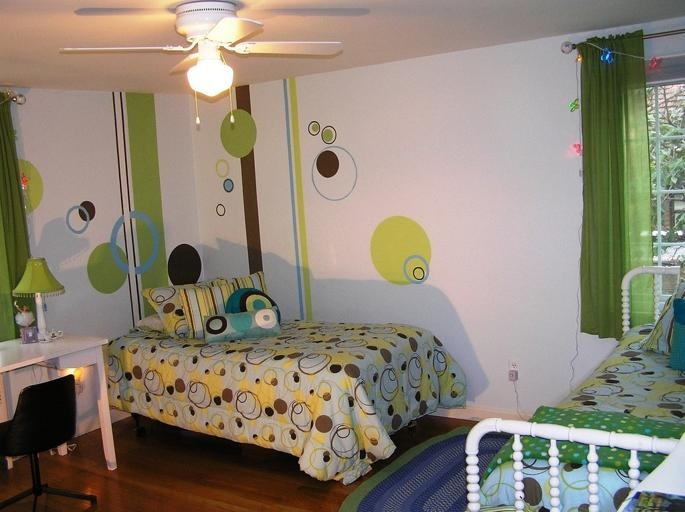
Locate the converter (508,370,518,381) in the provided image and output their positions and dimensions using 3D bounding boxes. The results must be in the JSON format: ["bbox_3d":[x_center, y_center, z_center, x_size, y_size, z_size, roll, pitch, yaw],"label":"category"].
[{"bbox_3d":[1.377,0.957,4.485,0.066,0.105,0.075,0,0,41],"label":"converter"}]

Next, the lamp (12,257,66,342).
[{"bbox_3d":[-2.333,0.331,4.292,0.318,0.632,0.497,-10,11,-40],"label":"lamp"}]

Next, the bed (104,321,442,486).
[{"bbox_3d":[-0.501,0.936,4.092,1.596,0.529,1.220,1,8,28],"label":"bed"}]

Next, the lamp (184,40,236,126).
[{"bbox_3d":[-0.770,-1.083,3.271,0.253,0.283,0.291,-5,9,-14],"label":"lamp"}]

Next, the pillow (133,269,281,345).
[{"bbox_3d":[-1.201,0.468,4.736,0.677,0.623,0.219,-12,-35,-12],"label":"pillow"}]
